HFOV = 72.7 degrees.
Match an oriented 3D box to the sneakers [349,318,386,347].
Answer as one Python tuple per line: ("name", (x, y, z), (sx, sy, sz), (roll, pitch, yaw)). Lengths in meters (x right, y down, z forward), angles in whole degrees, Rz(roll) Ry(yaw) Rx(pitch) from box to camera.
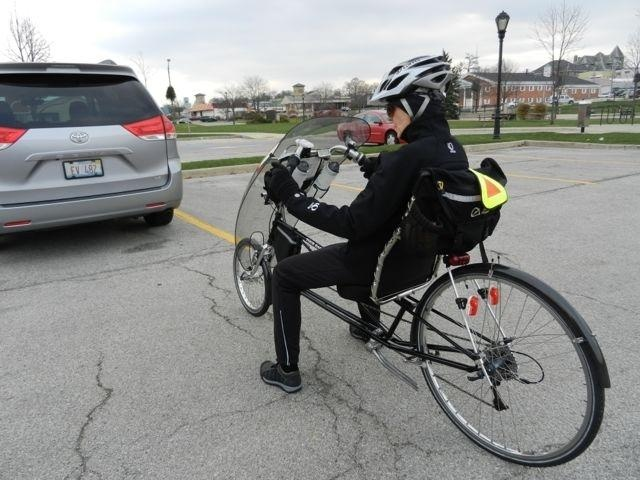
("sneakers", (0.332, 0.634, 3.067), (0.194, 0.112, 0.360), (2, 10, -6))

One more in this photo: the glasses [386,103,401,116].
("glasses", (0.437, -0.775, 2.573), (0.066, 0.034, 0.073), (0, 11, -1))

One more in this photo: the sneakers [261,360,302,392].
("sneakers", (-0.279, 0.950, 3.110), (0.335, 0.122, 0.157), (16, 22, 32))

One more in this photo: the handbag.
("handbag", (0.717, -0.156, 2.330), (0.542, 0.483, 0.264), (-9, 23, -14))

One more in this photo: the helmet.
("helmet", (0.529, -0.925, 2.515), (0.463, 0.237, 0.237), (-1, 22, 4))
